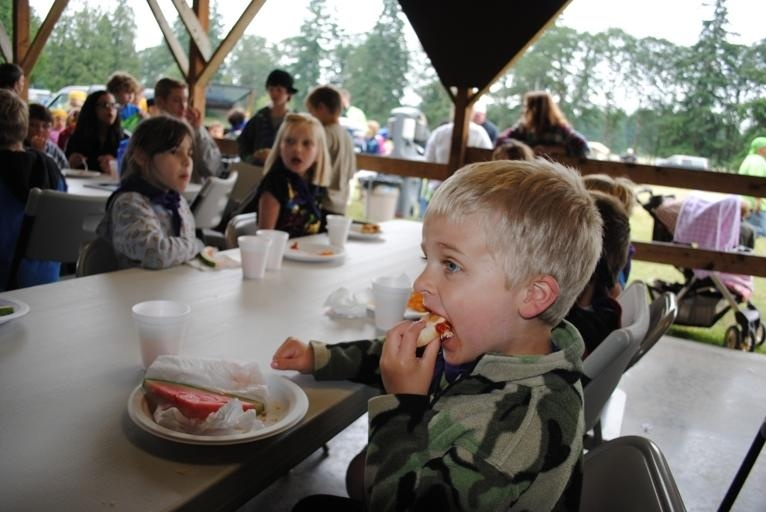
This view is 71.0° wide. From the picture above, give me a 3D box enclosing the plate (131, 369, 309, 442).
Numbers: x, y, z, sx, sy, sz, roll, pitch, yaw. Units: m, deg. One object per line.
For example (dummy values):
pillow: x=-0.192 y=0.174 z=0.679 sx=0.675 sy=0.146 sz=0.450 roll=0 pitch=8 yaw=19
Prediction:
plate: x=-0.382 y=0.365 z=1.263 sx=0.409 sy=0.100 sz=0.194 roll=2 pitch=8 yaw=-19
